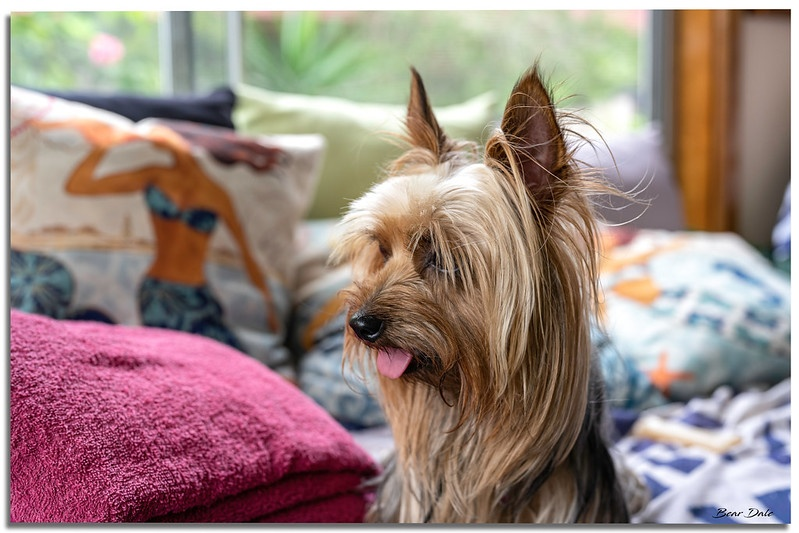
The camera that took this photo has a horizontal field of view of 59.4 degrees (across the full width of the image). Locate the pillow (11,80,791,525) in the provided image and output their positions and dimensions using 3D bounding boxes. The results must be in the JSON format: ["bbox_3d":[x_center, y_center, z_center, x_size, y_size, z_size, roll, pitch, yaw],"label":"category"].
[{"bbox_3d":[-0.079,0.086,2.081,1.755,0.719,1.559,-2,10,-36],"label":"pillow"}]

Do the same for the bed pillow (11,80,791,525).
[{"bbox_3d":[-0.117,0.082,2.068,1.755,0.719,1.559,-2,10,-36],"label":"bed pillow"}]

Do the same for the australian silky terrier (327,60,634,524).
[{"bbox_3d":[0.251,0.089,1.867,0.829,1.200,0.389,0,17,2],"label":"australian silky terrier"}]
